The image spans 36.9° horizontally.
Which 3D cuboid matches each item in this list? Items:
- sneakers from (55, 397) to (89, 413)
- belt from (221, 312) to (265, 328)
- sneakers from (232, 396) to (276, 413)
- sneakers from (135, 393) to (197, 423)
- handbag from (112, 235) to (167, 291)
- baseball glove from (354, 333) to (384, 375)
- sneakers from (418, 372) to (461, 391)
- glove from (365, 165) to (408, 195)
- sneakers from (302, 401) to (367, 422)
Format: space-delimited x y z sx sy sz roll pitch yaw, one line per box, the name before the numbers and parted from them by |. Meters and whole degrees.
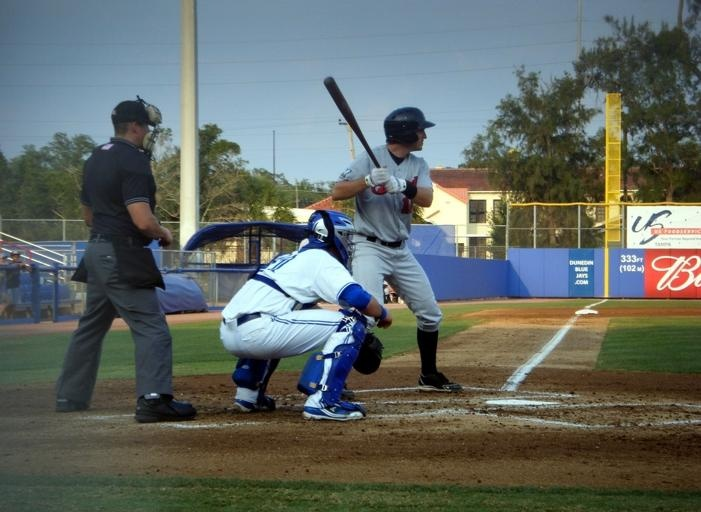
sneakers | -2.923 1.556 11.071 0.259 0.083 0.182 4 0 17
belt | -1.107 0.644 10.786 0.378 0.135 0.077 2 9 8
sneakers | -0.994 1.564 11.086 0.460 0.167 0.156 -4 11 -32
sneakers | -1.917 1.551 10.741 0.670 0.264 0.253 -1 3 -11
handbag | -2.218 0.074 10.877 0.452 0.460 0.152 -1 10 -10
baseball glove | 0.178 1.062 11.302 0.234 0.486 0.458 5 10 25
sneakers | 0.969 1.411 11.776 0.522 0.179 0.182 1 -2 1
glove | 0.368 -0.786 11.248 0.387 0.148 0.275 22 1 21
sneakers | -0.164 1.595 10.763 0.644 0.215 0.223 -1 -3 -4
